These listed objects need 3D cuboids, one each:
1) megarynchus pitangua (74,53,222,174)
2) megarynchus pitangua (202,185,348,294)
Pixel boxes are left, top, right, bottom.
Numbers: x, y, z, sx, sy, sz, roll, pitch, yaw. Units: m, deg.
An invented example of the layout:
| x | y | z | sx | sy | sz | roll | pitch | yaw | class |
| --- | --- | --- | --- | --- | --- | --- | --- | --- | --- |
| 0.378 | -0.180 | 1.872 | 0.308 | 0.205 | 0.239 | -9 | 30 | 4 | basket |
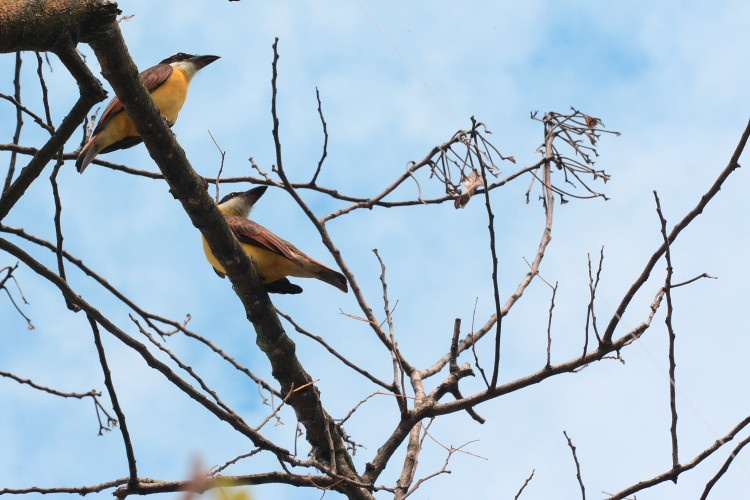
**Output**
| x | y | z | sx | sy | sz | roll | pitch | yaw | class |
| --- | --- | --- | --- | --- | --- | --- | --- | --- | --- |
| -2.030 | -1.269 | 10.307 | 1.376 | 0.684 | 0.517 | -20 | -35 | 2 | megarynchus pitangua |
| -0.803 | -0.073 | 9.596 | 1.253 | 0.870 | 0.560 | 7 | -43 | 14 | megarynchus pitangua |
